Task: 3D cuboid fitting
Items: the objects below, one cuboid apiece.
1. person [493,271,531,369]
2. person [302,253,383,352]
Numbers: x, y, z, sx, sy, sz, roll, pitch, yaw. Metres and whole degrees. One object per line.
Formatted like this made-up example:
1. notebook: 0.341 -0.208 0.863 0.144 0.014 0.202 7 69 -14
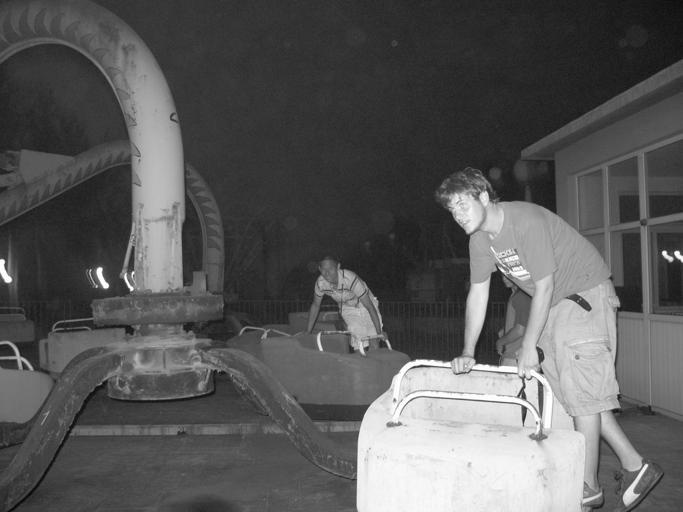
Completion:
1. person: 2.086 0.816 8.461 0.366 0.536 1.489 6 24 19
2. person: 0.064 0.777 9.830 0.994 1.547 1.885 -1 6 -1
